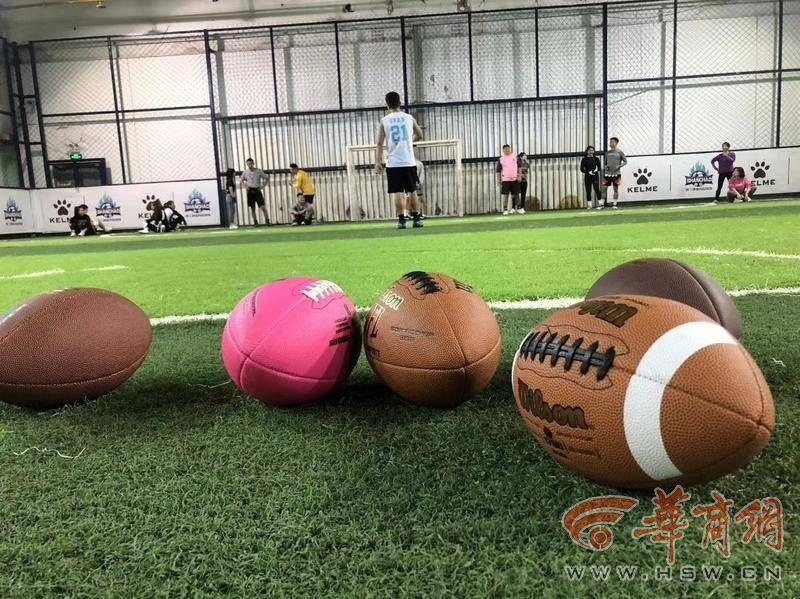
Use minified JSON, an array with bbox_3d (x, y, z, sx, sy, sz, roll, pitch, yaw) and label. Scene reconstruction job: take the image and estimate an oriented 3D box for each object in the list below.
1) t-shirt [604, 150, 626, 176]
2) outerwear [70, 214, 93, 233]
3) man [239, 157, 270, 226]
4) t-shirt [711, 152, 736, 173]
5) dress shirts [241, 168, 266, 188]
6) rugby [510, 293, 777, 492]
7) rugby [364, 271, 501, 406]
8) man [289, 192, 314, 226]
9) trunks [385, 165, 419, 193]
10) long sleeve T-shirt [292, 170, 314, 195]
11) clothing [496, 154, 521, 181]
[{"bbox_3d":[4.357,-2.737,14.179,0.388,0.539,0.363,-2,12,18],"label":"t-shirt"},{"bbox_3d":[-6.792,-1.565,14.965,0.384,0.580,0.524,-1,2,-21],"label":"outerwear"},{"bbox_3d":[-3.204,-2.343,15.574,0.446,1.456,0.375,-5,13,-3],"label":"man"},{"bbox_3d":[6.581,-2.734,14.244,0.483,0.417,0.330,-4,11,10],"label":"t-shirt"},{"bbox_3d":[-3.197,-2.661,15.534,0.497,0.437,0.467,-7,11,-9],"label":"dress shirts"},{"bbox_3d":[0.653,0.272,2.056,0.545,0.548,0.804,-4,8,-18],"label":"rugby"},{"bbox_3d":[0.104,0.135,2.401,0.475,0.415,0.302,-5,11,4],"label":"rugby"},{"bbox_3d":[-2.161,-1.993,15.844,0.633,0.976,0.777,-2,5,-2],"label":"man"},{"bbox_3d":[0.036,-1.534,8.943,0.454,0.492,0.288,0,19,-1],"label":"trunks"},{"bbox_3d":[-2.091,-2.533,15.387,0.348,0.551,0.484,-6,11,-3],"label":"long sleeve T-shirt"},{"bbox_3d":[2.245,-2.675,14.383,0.327,0.564,0.401,-3,11,13],"label":"clothing"}]
